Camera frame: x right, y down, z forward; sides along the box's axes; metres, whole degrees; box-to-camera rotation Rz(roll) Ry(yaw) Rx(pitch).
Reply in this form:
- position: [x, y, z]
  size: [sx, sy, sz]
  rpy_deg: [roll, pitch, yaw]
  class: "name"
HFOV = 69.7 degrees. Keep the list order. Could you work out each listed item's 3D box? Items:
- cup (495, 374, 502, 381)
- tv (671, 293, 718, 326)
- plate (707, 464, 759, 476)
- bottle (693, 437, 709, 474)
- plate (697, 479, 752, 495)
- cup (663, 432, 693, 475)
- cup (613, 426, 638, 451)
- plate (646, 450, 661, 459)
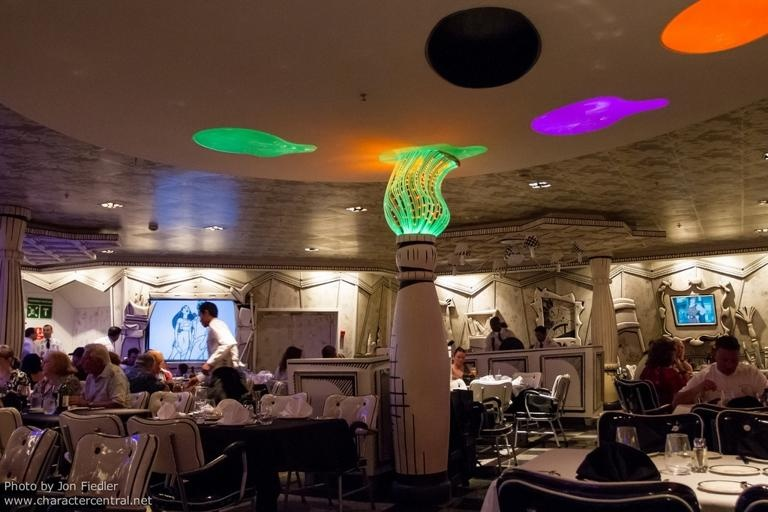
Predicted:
- position: [2.021, 2.152, 9.772]
  size: [0.125, 0.106, 0.121]
  rpy_deg: [2, 1, 0]
  class: "cup"
- position: [8.454, 1.447, 14.978]
  size: [0.951, 0.720, 0.104]
  rpy_deg: [-5, -9, 31]
  class: "tv"
- position: [2.368, 1.448, 3.728]
  size: [0.330, 0.042, 0.241]
  rpy_deg: [0, -11, -3]
  class: "plate"
- position: [2.194, 1.375, 3.849]
  size: [0.085, 0.219, 0.290]
  rpy_deg: [-7, -13, 30]
  class: "bottle"
- position: [2.131, 1.449, 3.475]
  size: [0.282, 0.048, 0.301]
  rpy_deg: [-6, -12, 27]
  class: "plate"
- position: [2.000, 1.345, 3.758]
  size: [0.184, 0.256, 0.103]
  rpy_deg: [4, -12, -19]
  class: "cup"
- position: [1.693, 1.249, 3.778]
  size: [0.167, 0.148, 0.168]
  rpy_deg: [0, -14, 0]
  class: "cup"
- position: [2.117, 1.542, 4.306]
  size: [0.113, 0.028, 0.357]
  rpy_deg: [-5, -12, 25]
  class: "plate"
